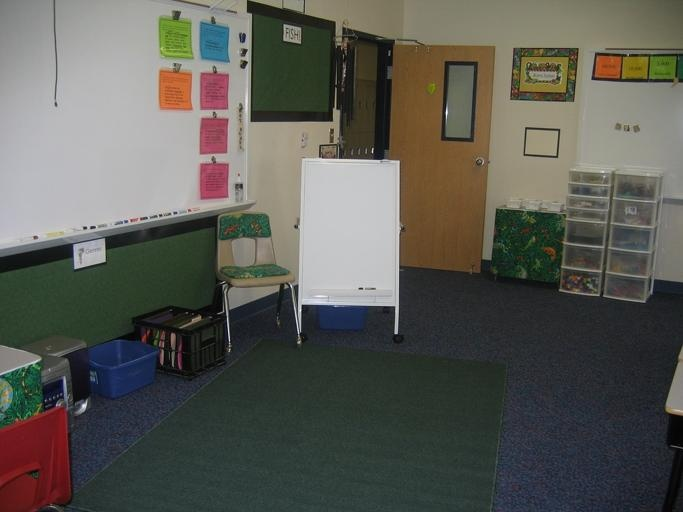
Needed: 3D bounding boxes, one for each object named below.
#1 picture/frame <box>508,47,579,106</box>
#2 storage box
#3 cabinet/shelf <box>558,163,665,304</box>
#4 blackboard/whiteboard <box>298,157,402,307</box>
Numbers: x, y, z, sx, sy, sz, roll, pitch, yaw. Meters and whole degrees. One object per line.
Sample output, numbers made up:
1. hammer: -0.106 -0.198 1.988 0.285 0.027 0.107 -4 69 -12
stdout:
1. picture/frame: 2.176 -1.955 5.533 0.649 0.525 0.092 6 15 18
2. storage box: -1.375 0.683 3.344 0.448 0.287 0.592 3 8 17
3. cabinet/shelf: 2.685 -0.216 5.104 1.038 1.554 0.520 8 18 22
4. blackboard/whiteboard: 0.062 -0.185 3.982 0.753 1.079 0.254 0 14 -4
